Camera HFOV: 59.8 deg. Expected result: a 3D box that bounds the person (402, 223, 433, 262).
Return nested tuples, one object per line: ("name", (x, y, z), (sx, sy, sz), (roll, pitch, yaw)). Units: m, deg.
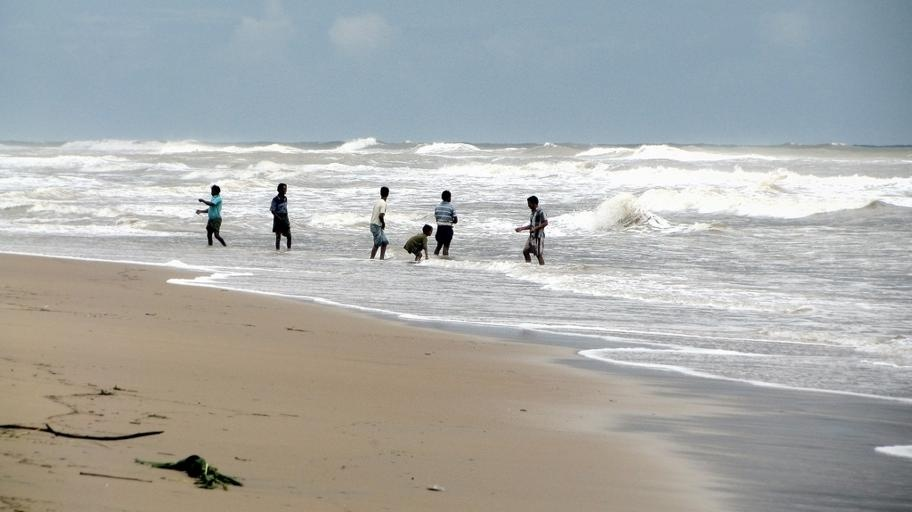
("person", (-0.809, -0.327, 16.956), (0.513, 0.759, 0.881), (5, 7, -2))
